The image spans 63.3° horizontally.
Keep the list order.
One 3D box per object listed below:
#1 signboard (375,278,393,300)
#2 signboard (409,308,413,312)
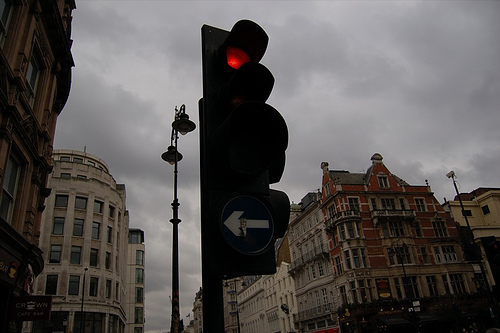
[{"bbox_3d":[16.813,15.644,51.587,2.483,3.688,0.372,2,-36,-8],"label":"signboard"},{"bbox_3d":[16.298,14.494,41.442,0.248,0.499,1.944,-10,-32,13],"label":"signboard"}]
